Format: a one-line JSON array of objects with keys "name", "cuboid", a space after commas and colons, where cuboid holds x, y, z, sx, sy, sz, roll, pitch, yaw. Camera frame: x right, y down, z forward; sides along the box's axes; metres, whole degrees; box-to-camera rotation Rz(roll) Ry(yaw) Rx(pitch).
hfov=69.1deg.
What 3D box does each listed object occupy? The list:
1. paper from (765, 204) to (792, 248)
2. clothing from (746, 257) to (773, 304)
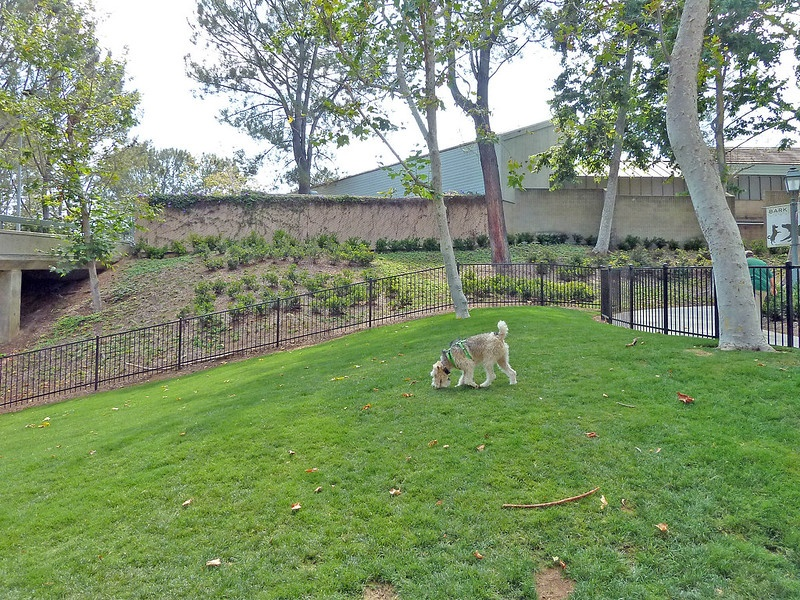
[{"name": "paper", "cuboid": [15.214, -3.005, 23.493, 0.725, 1.545, 2.939, -4, 0, 31]}, {"name": "clothing", "cuboid": [9.944, -0.658, 16.095, 0.543, 1.234, 5.403, -4, 0, 32]}]
